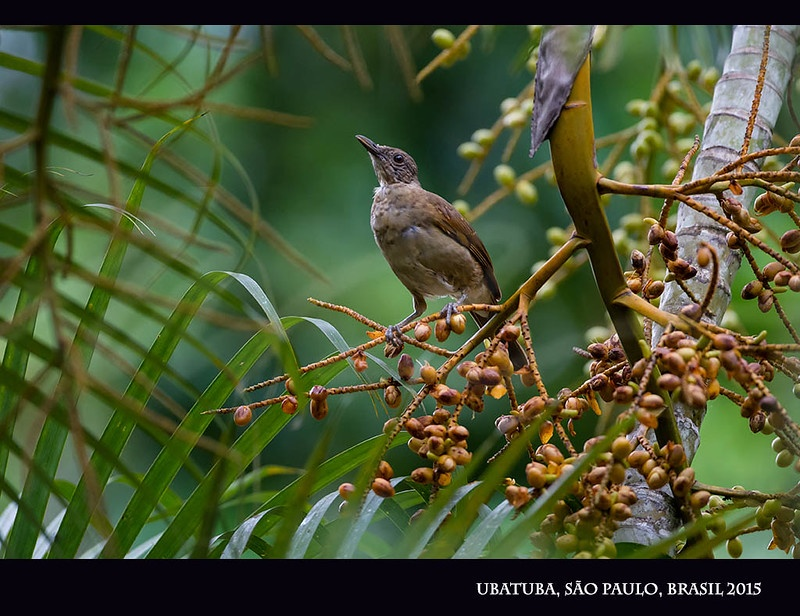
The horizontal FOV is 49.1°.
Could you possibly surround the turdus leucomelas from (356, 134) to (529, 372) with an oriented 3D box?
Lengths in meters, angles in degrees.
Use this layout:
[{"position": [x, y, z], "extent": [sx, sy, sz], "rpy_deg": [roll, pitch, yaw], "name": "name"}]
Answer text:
[{"position": [0.134, -0.250, 3.169], "extent": [0.566, 0.795, 0.918], "rpy_deg": [4, -73, 22], "name": "turdus leucomelas"}]
